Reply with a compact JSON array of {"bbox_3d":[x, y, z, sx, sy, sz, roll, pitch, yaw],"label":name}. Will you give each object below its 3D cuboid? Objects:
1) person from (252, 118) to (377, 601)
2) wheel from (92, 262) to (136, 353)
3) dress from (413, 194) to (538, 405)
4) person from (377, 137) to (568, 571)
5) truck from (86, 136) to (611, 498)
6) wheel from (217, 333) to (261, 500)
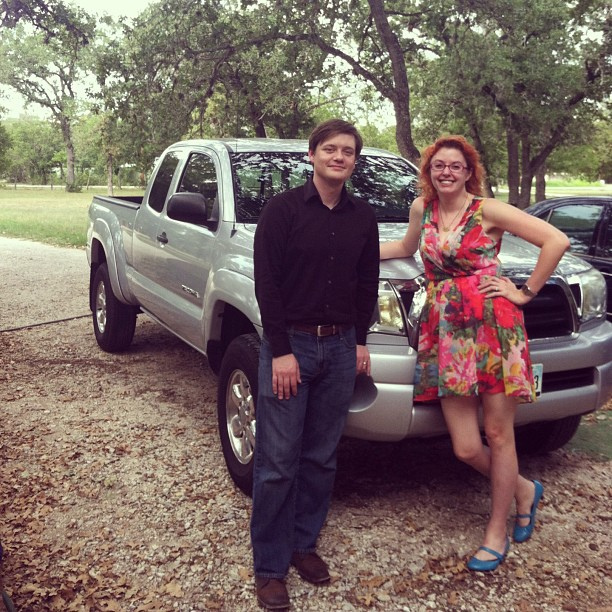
[{"bbox_3d":[0.013,0.231,2.340,0.580,1.940,0.260,-8,13,-43],"label":"person"},{"bbox_3d":[-1.884,0.012,5.540,0.252,0.869,0.748,4,10,-32],"label":"wheel"},{"bbox_3d":[0.749,-0.032,2.471,0.533,0.893,0.357,4,10,18],"label":"dress"},{"bbox_3d":[0.770,0.202,2.566,0.702,1.900,0.451,3,9,12],"label":"person"},{"bbox_3d":[-0.432,-0.215,4.807,2.089,1.920,5.342,0,7,-27],"label":"truck"},{"bbox_3d":[-0.348,0.592,3.022,0.183,0.905,0.611,-2,10,-15],"label":"wheel"}]
